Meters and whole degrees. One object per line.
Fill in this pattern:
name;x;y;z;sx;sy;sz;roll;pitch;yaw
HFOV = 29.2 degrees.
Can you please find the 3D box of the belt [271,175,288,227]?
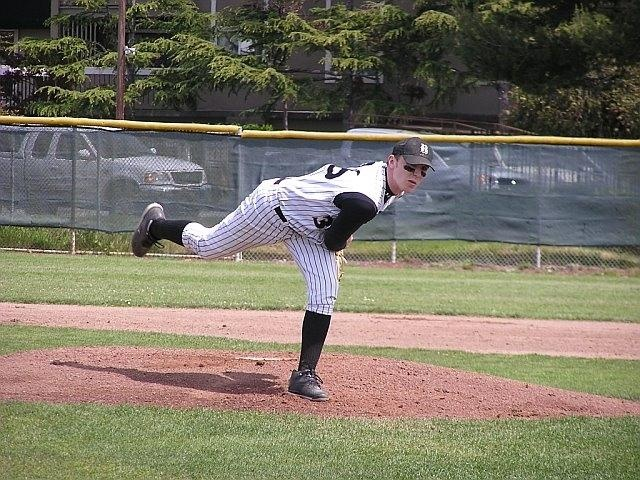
belt;-0.565;-0.548;17.250;0.179;0.619;0.265;2;1;-11
